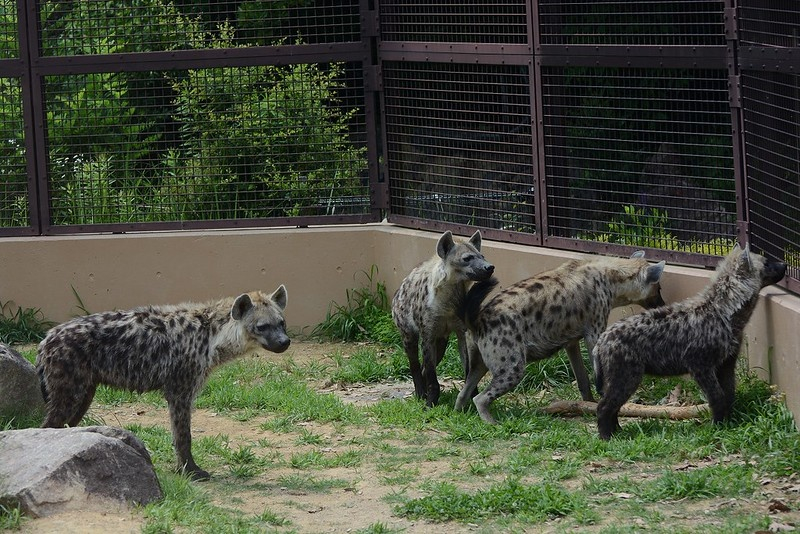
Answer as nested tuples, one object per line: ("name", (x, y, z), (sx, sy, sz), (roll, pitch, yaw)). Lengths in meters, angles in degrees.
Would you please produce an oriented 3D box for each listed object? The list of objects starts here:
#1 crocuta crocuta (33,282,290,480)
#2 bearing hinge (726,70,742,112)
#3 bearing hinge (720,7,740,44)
("crocuta crocuta", (-1.922, 0.967, 6.827), (1.919, 1.383, 0.641), (-4, 12, 0))
("bearing hinge", (2.970, -1.554, 7.452), (0.043, 0.293, 0.156), (-8, 12, -20))
("bearing hinge", (2.918, -2.142, 7.412), (0.120, 0.302, 0.056), (2, 13, 25))
